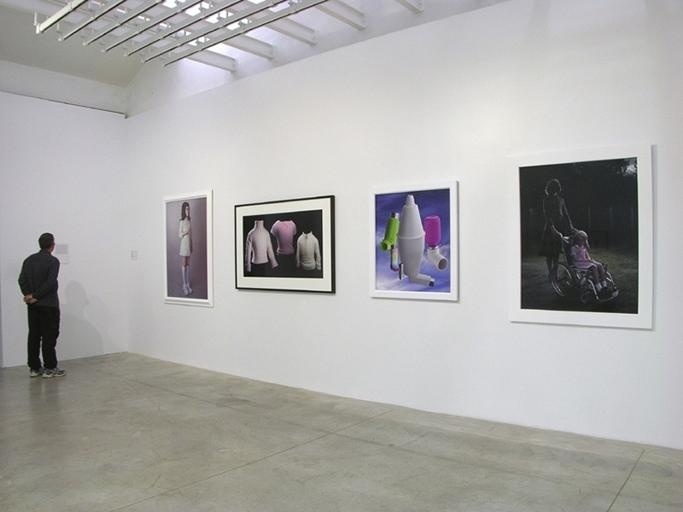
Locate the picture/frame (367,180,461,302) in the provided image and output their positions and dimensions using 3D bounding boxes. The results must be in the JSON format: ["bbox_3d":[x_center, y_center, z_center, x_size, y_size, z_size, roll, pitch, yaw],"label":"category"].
[{"bbox_3d":[0.874,-0.166,5.411,1.236,1.675,0.058,1,0,39],"label":"picture/frame"}]

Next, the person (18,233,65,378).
[{"bbox_3d":[-4.617,0.752,7.217,0.603,2.180,0.383,0,3,14],"label":"person"}]
